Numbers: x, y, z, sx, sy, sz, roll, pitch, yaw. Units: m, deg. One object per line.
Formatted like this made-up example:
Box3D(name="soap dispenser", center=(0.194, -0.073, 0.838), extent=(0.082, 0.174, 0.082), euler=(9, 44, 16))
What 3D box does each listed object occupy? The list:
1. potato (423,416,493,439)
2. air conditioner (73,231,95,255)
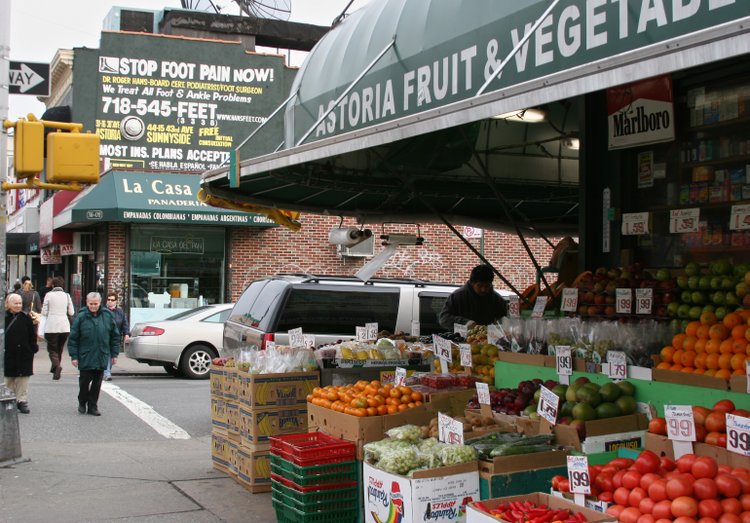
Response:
Box3D(name="potato", center=(0.769, 1.524, 6.470), extent=(0.632, 0.179, 0.495), euler=(-1, 0, 3))
Box3D(name="air conditioner", center=(-10.564, -0.759, 25.661), extent=(0.911, 0.950, 0.924), euler=(1, -2, -19))
